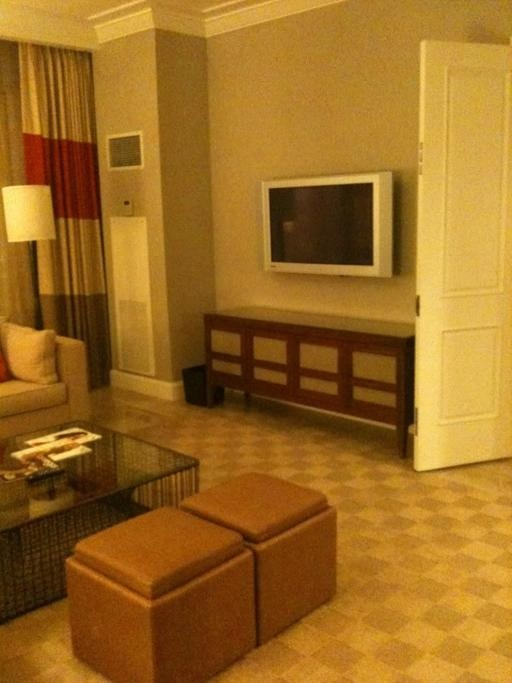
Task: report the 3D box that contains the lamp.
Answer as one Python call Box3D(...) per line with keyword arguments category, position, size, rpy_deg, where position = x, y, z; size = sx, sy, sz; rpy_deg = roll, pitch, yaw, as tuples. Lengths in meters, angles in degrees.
Box3D(category="lamp", position=(-1.785, -0.616, 4.535), size=(0.365, 1.125, 0.952), rpy_deg=(-3, 7, -20))

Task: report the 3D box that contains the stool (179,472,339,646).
Box3D(category="stool", position=(0.007, 0.699, 1.954), size=(0.477, 0.413, 0.484), rpy_deg=(6, 13, 28))

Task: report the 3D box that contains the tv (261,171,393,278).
Box3D(category="tv", position=(0.449, -0.829, 4.079), size=(0.059, 0.693, 1.119), rpy_deg=(-15, 18, -41))

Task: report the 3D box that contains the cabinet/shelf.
Box3D(category="cabinet/shelf", position=(0.379, 0.212, 4.101), size=(1.656, 0.709, 0.415), rpy_deg=(9, 16, 37))
